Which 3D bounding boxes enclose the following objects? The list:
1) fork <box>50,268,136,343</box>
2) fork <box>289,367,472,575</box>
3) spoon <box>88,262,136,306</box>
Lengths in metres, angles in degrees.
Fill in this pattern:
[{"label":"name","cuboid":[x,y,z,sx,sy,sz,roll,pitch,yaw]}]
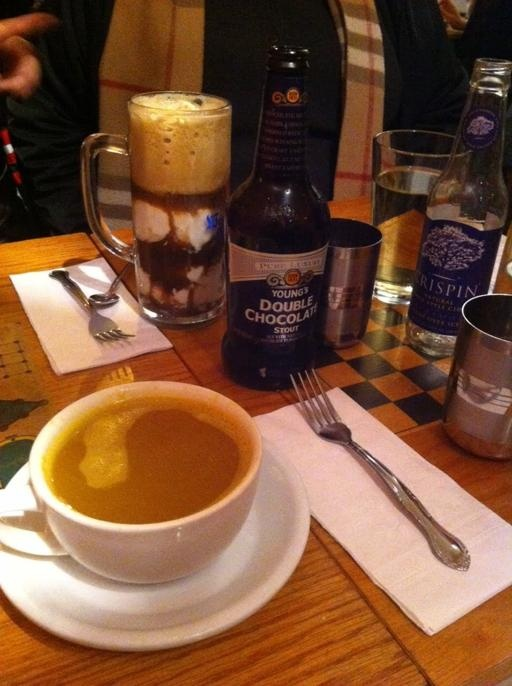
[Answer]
[{"label":"fork","cuboid":[-0.218,-0.041,0.722,0.051,0.031,0.284,-17,33,-22]},{"label":"fork","cuboid":[0.089,0.064,0.570,0.046,0.052,0.371,0,35,-28]},{"label":"spoon","cuboid":[-0.198,-0.081,0.769,0.021,0.014,0.085,10,36,8]}]
